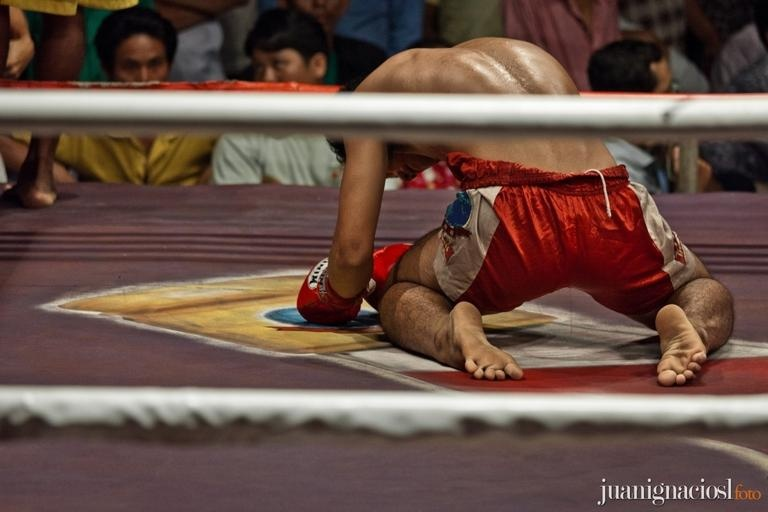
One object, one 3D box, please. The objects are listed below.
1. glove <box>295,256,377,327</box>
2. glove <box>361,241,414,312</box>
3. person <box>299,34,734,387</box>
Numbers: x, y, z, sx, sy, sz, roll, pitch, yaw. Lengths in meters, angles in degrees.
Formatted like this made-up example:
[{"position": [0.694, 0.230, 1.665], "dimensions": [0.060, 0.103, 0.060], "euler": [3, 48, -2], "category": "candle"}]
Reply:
[{"position": [-0.150, 0.099, 2.290], "dimensions": [0.176, 0.201, 0.081], "euler": [-9, 77, -14], "category": "glove"}, {"position": [0.011, 0.071, 2.421], "dimensions": [0.147, 0.152, 0.095], "euler": [-9, 27, -10], "category": "glove"}, {"position": [0.361, -0.201, 2.413], "dimensions": [1.011, 0.697, 1.476], "euler": [-9, 23, -18], "category": "person"}]
